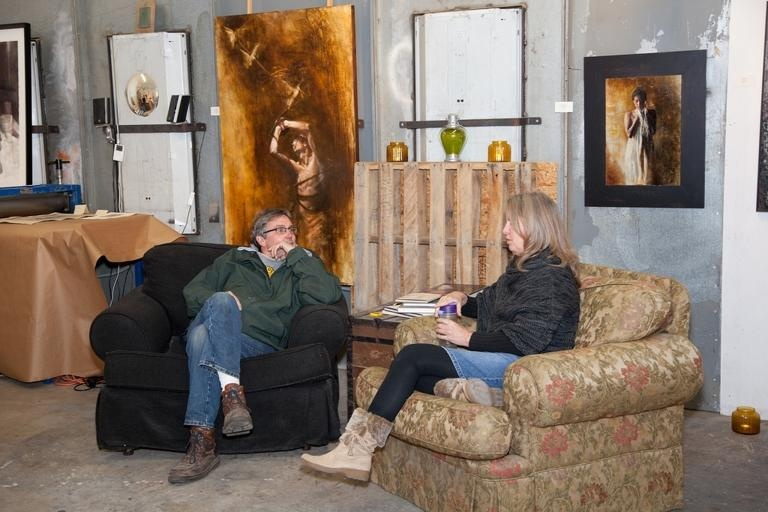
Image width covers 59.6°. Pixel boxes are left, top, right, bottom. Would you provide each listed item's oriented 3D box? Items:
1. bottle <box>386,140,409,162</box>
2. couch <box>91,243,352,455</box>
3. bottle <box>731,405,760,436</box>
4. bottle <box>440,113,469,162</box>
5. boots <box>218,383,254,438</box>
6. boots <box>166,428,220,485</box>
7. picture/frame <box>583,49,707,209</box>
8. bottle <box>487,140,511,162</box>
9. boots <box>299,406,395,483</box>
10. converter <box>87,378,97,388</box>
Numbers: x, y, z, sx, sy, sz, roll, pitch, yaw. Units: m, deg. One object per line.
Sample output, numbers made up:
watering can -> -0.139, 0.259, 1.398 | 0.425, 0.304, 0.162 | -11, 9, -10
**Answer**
bottle -> 0.085, -0.760, 4.845 | 0.175, 0.138, 0.152 | 0, 7, 15
couch -> -0.971, 0.253, 4.252 | 1.705, 1.239, 1.003 | 0, 6, -1
bottle -> 2.190, 0.992, 4.091 | 0.155, 0.144, 0.159 | 2, 5, 44
bottle -> 0.488, -0.841, 4.719 | 0.172, 0.322, 0.196 | -1, 7, 6
boots -> -0.810, 0.841, 3.687 | 0.148, 0.291, 0.247 | -4, 7, -15
boots -> -1.037, 1.089, 3.716 | 0.149, 0.262, 0.389 | -3, 1, 19
picture/frame -> 1.730, -0.857, 4.354 | 1.050, 1.329, 0.093 | 0, 3, 20
bottle -> 0.780, -0.709, 4.535 | 0.163, 0.148, 0.163 | 0, 1, 0
boots -> -0.139, 0.916, 3.257 | 0.525, 0.400, 0.240 | 4, -8, 8
converter -> -2.132, 0.928, 4.908 | 0.043, 0.032, 0.077 | 10, 7, -19
